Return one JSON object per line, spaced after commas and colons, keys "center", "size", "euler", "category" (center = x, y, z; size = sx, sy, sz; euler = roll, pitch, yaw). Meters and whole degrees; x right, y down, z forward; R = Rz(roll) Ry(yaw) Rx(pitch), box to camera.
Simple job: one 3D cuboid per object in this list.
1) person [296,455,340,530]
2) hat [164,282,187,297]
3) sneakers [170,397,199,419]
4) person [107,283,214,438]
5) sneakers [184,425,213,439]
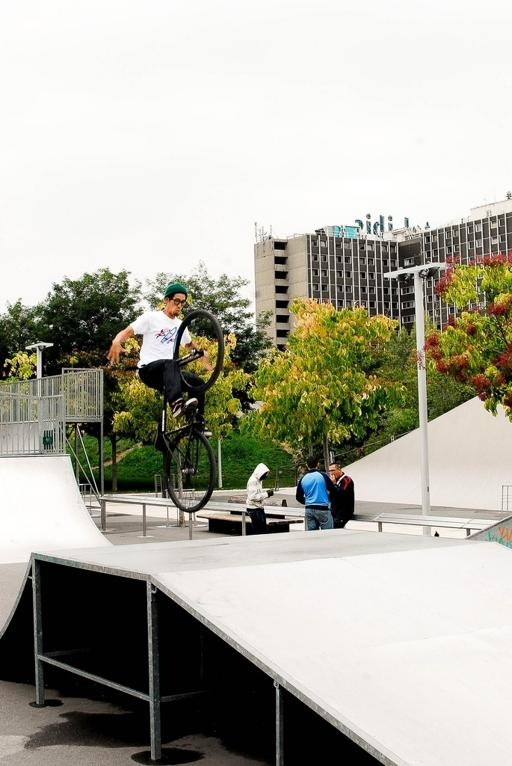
{"center": [0.645, 1.213, 11.624], "size": [0.432, 0.801, 0.874], "euler": [3, -2, 4], "category": "person"}
{"center": [-0.636, -0.738, 8.485], "size": [0.118, 0.103, 0.154], "euler": [17, -19, -37], "category": "hat"}
{"center": [-0.520, 0.177, 8.145], "size": [0.252, 0.115, 0.099], "euler": [-39, -31, 25], "category": "sneakers"}
{"center": [-0.761, -0.250, 8.391], "size": [0.719, 0.717, 0.405], "euler": [2, -2, 14], "category": "person"}
{"center": [-0.474, 0.391, 8.439], "size": [0.243, 0.105, 0.082], "euler": [14, 3, 8], "category": "sneakers"}
